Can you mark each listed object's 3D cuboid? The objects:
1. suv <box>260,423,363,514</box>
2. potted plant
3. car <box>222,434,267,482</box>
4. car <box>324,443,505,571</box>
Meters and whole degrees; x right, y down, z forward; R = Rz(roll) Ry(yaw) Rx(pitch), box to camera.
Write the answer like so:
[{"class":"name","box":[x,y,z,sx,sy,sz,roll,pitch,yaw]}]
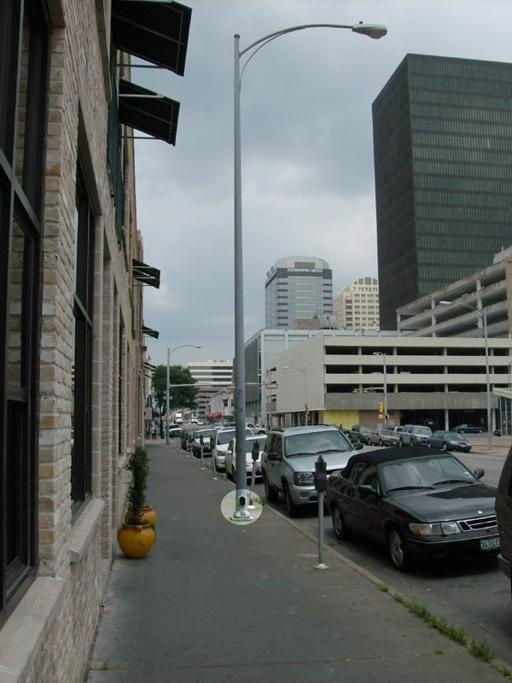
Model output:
[{"class":"suv","box":[0.963,2.583,13.932,1.385,1.402,2.406,0,-16,-16]},{"class":"potted plant","box":[-1.592,2.106,8.965,0.491,1.372,1.355,1,-5,-10]},{"class":"car","box":[-0.253,3.409,19.769,1.011,1.205,2.304,0,-14,-12]},{"class":"car","box":[1.900,2.049,8.426,1.063,0.880,2.288,0,-14,-13]}]
